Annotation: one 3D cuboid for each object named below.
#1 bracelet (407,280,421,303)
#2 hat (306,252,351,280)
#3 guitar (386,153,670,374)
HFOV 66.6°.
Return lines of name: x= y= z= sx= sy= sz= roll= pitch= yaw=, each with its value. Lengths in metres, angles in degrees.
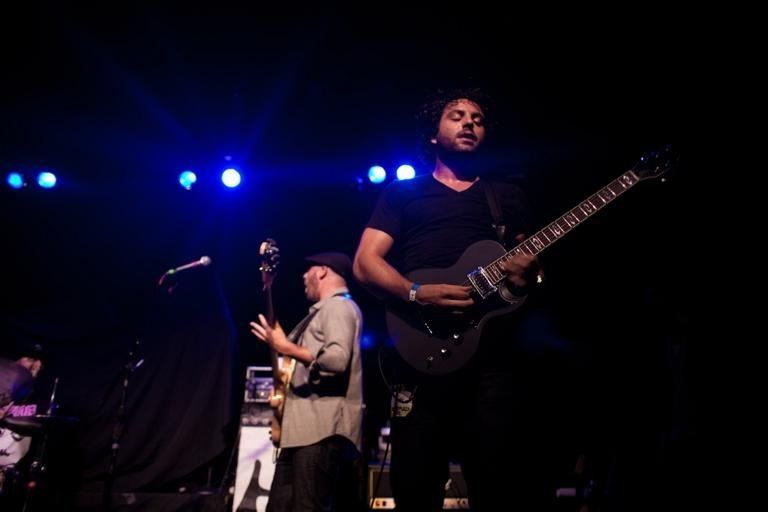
bracelet: x=0.271 y=0.335 z=5.265 sx=0.093 sy=0.153 sz=0.153 roll=2 pitch=-14 yaw=20
hat: x=-0.619 y=0.084 z=6.863 sx=0.448 sy=0.219 sz=0.322 roll=27 pitch=-4 yaw=4
guitar: x=1.362 y=0.034 z=5.308 sx=3.235 sy=1.047 sz=0.329 roll=-33 pitch=-9 yaw=-1
